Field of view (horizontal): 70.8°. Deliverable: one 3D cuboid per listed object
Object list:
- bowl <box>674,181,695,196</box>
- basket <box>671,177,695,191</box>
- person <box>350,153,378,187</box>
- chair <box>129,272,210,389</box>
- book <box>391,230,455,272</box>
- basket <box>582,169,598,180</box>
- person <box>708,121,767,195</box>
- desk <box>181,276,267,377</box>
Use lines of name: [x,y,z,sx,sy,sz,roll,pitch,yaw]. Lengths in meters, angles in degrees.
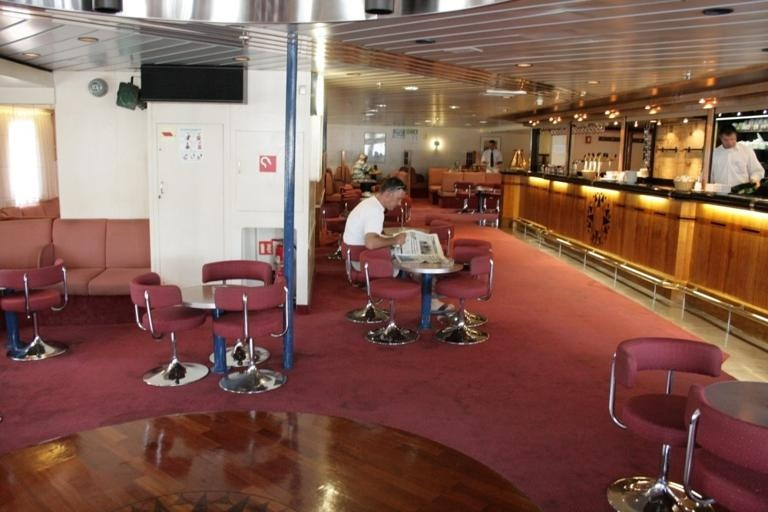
bowl: [5.029,-1.157,8.976,0.343,0.196,0.315,-1,1,0]
basket: [5.066,-1.212,9.138,0.342,0.190,0.319,0,-1,3]
person: [-0.762,-3.197,20.876,0.796,1.414,1.192,21,25,37]
chair: [-2.442,0.889,6.116,0.972,1.240,1.039,-5,14,-29]
book: [0.464,-0.074,7.016,0.588,0.190,0.545,1,29,0]
basket: [4.723,-1.880,12.425,0.343,0.191,0.343,1,3,42]
person: [6.282,-1.806,9.577,0.779,1.098,2.483,6,15,30]
desk: [-1.984,0.731,6.074,1.229,0.729,1.144,4,8,13]
